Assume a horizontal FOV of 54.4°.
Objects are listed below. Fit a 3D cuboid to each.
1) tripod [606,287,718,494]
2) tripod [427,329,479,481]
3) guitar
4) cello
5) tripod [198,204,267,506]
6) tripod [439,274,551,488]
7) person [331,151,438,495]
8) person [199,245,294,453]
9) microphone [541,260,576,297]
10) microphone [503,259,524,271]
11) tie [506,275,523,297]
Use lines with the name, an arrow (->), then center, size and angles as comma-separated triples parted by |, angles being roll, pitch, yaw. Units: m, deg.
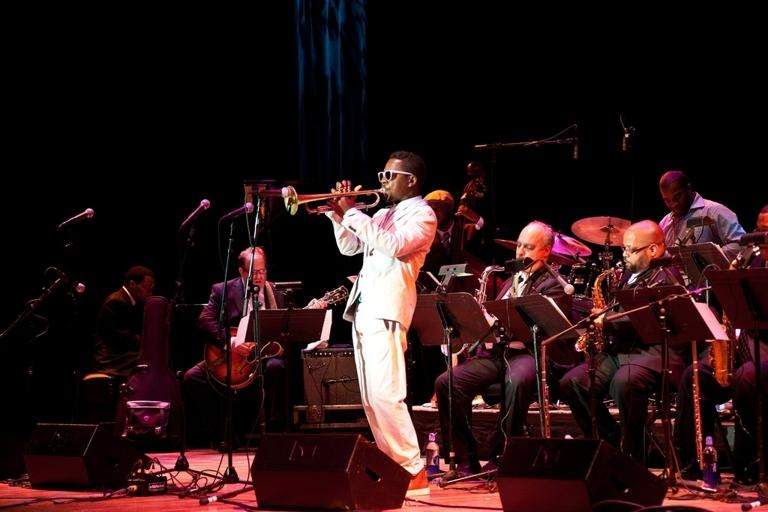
tripod -> 2.315, 1.030, 6.166 | 0.878, 1.579, 0.753 | 1, 5, 17
tripod -> 0.645, 1.353, 6.921 | 0.529, 1.364, 0.506 | -2, 4, -31
guitar -> -1.076, 0.742, 7.862 | 1.560, 0.200, 0.606 | -25, 9, -40
cello -> 1.034, -0.374, 9.586 | 0.785, 1.501, 0.473 | -1, -4, 21
tripod -> -1.323, 0.744, 6.623 | 0.793, 3.163, 0.816 | -2, 3, -18
tripod -> 1.037, 1.085, 7.029 | 0.977, 1.888, 0.931 | -1, -1, -3
person -> -0.031, 0.465, 6.480 | 0.969, 2.779, 1.408 | -1, -2, -24
person -> -1.693, 0.919, 8.783 | 1.134, 2.678, 0.380 | -1, -4, 23
microphone -> 1.443, 0.184, 6.349 | 0.131, 0.139, 0.675 | -39, 18, 5
microphone -> 1.163, 0.090, 6.507 | 0.109, 0.068, 0.141 | 3, -6, -35
tie -> 1.234, 0.288, 6.988 | 0.114, 0.153, 0.482 | -7, -5, 15
